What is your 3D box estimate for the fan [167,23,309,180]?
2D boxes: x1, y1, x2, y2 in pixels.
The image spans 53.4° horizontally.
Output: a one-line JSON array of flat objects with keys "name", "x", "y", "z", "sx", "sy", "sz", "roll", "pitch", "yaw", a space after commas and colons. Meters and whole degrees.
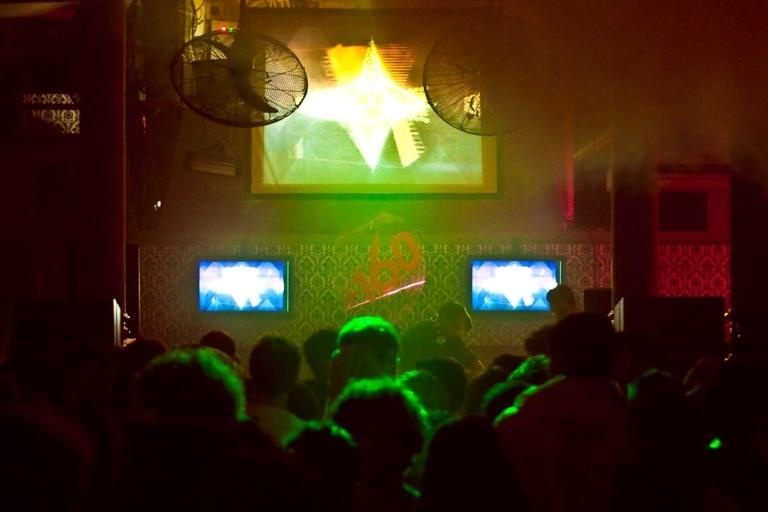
[{"name": "fan", "x": -0.925, "y": -1.249, "z": 5.276, "sx": 0.861, "sy": 0.918, "sz": 0.219, "roll": 4, "pitch": -21, "yaw": -44}]

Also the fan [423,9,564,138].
[{"name": "fan", "x": 0.711, "y": -1.198, "z": 5.108, "sx": 0.844, "sy": 0.880, "sz": 0.335, "roll": -21, "pitch": 10, "yaw": -25}]
